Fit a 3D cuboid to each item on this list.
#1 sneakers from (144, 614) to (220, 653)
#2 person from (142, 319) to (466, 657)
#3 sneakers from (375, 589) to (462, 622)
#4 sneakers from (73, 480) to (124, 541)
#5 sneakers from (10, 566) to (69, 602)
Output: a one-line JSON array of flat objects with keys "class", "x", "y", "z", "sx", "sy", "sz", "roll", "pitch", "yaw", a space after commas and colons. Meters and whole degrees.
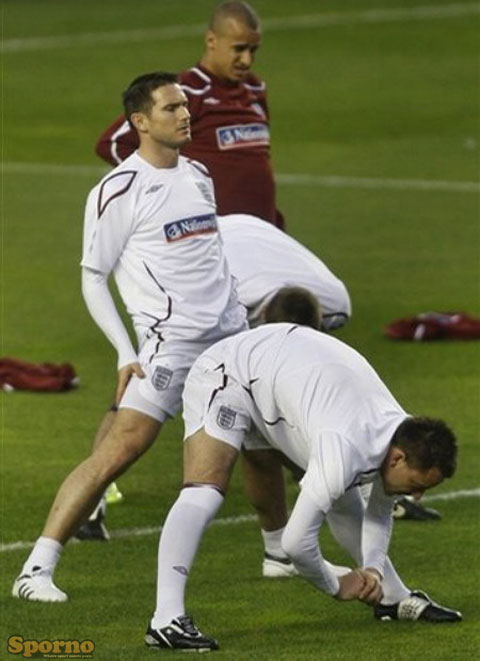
[{"class": "sneakers", "x": -0.163, "y": 0.844, "z": 3.057, "sx": 0.243, "sy": 0.092, "sz": 0.077, "roll": 2, "pitch": -5, "yaw": 5}, {"class": "person", "x": 0.283, "y": 0.482, "z": 3.333, "sx": 1.074, "sy": 0.858, "sz": 0.860, "roll": -5, "pitch": -3, "yaw": 37}, {"class": "sneakers", "x": 0.544, "y": 0.855, "z": 3.453, "sx": 0.292, "sy": 0.099, "sz": 0.099, "roll": -1, "pitch": -8, "yaw": 10}, {"class": "sneakers", "x": -0.510, "y": 0.655, "z": 3.946, "sx": 0.081, "sy": 0.286, "sz": 0.152, "roll": 28, "pitch": -27, "yaw": 5}, {"class": "sneakers", "x": -0.618, "y": 0.789, "z": 3.431, "sx": 0.167, "sy": 0.066, "sz": 0.093, "roll": -1, "pitch": -4, "yaw": 41}]
